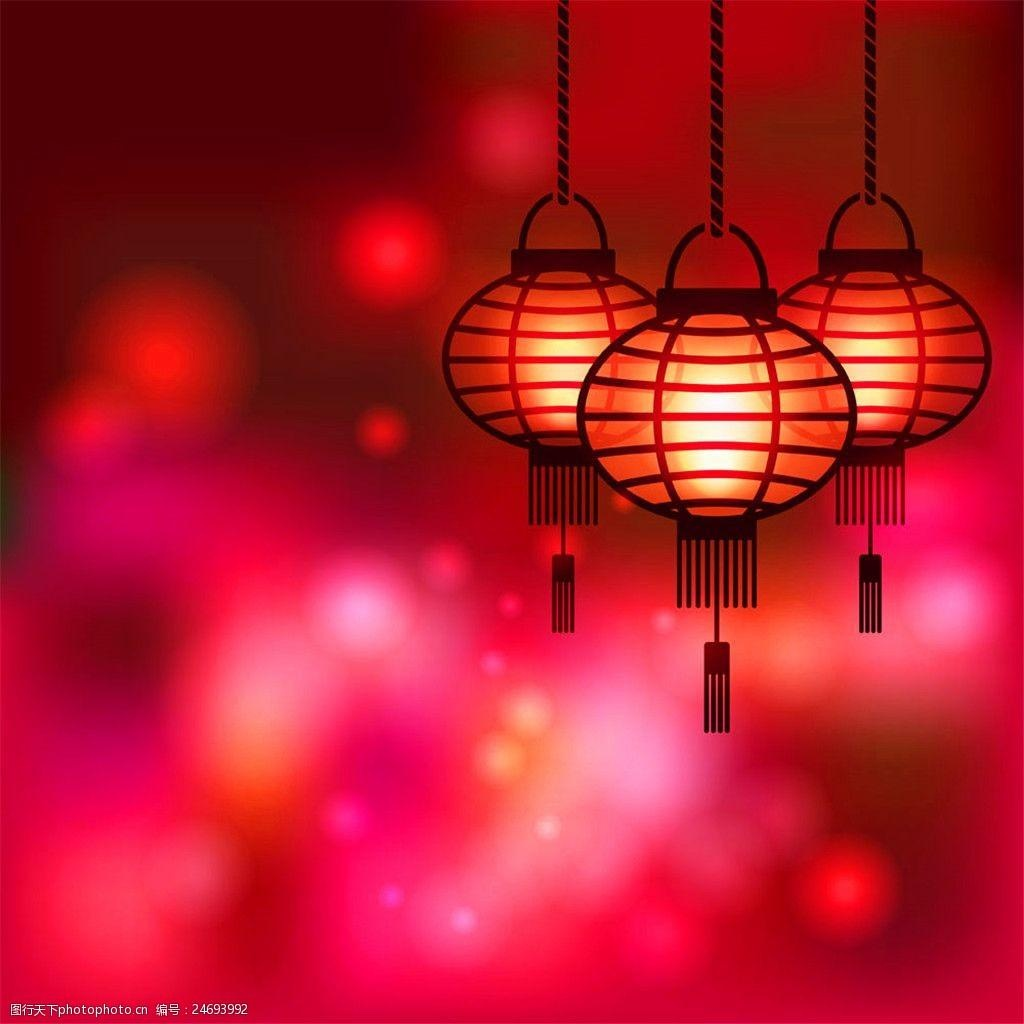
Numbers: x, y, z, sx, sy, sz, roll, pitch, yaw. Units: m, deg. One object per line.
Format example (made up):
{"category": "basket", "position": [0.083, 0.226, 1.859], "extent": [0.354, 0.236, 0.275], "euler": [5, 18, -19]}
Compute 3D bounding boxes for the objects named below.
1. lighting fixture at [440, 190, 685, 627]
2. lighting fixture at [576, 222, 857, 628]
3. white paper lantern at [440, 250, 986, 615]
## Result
{"category": "lighting fixture", "position": [0.067, -0.132, 2.271], "extent": [0.339, 0.275, 0.636], "euler": [-10, -101, 46]}
{"category": "lighting fixture", "position": [0.261, -0.116, 1.975], "extent": [0.347, 0.230, 0.468], "euler": [0, -96, 7]}
{"category": "white paper lantern", "position": [0.329, -0.133, 2.371], "extent": [0.704, 0.206, 0.568], "euler": [1, -89, 5]}
